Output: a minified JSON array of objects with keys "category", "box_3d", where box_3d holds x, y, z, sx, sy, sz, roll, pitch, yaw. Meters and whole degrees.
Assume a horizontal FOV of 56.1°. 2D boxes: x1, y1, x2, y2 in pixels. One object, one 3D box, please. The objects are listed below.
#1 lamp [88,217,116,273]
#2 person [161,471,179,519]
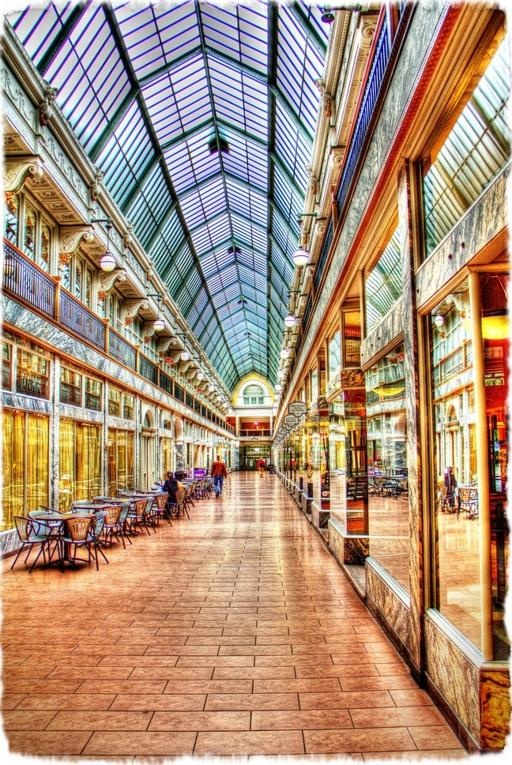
[{"category":"lamp","box_3d":[-3.459,-3.119,10.962,0.464,1.311,0.381,-3,-5,-11]},{"category":"person","box_3d":[-2.386,3.161,13.717,0.391,1.590,0.531,0,22,-8]}]
